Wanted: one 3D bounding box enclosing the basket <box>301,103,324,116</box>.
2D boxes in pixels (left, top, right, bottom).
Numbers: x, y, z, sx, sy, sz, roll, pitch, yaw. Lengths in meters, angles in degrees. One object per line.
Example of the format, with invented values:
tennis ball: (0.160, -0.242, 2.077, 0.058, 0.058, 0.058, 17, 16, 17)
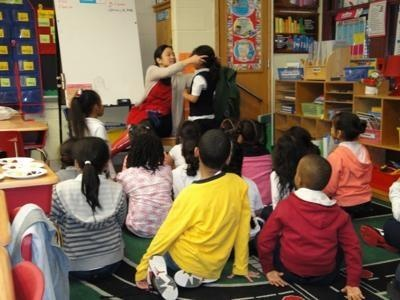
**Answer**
basket: (1.514, -0.547, 4.226, 0.141, 0.112, 0.214, -7, 12, -40)
